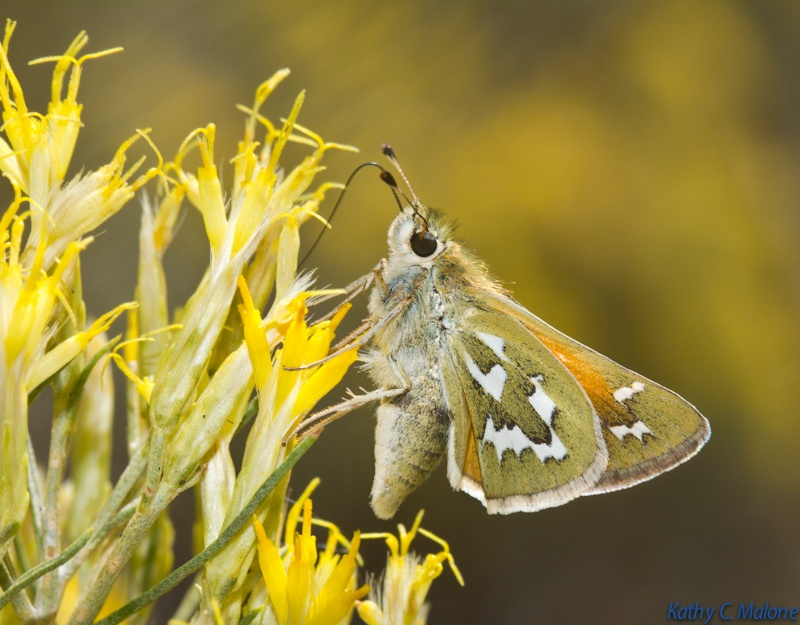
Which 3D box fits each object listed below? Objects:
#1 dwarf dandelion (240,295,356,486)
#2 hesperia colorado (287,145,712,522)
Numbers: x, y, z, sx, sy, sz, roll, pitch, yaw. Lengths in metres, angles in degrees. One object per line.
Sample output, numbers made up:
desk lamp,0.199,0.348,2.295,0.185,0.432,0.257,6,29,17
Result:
dwarf dandelion,-0.156,0.091,1.599,0.117,0.221,0.138,-5,31,-28
hesperia colorado,0.193,0.174,2.243,0.740,0.578,0.702,29,0,-11
